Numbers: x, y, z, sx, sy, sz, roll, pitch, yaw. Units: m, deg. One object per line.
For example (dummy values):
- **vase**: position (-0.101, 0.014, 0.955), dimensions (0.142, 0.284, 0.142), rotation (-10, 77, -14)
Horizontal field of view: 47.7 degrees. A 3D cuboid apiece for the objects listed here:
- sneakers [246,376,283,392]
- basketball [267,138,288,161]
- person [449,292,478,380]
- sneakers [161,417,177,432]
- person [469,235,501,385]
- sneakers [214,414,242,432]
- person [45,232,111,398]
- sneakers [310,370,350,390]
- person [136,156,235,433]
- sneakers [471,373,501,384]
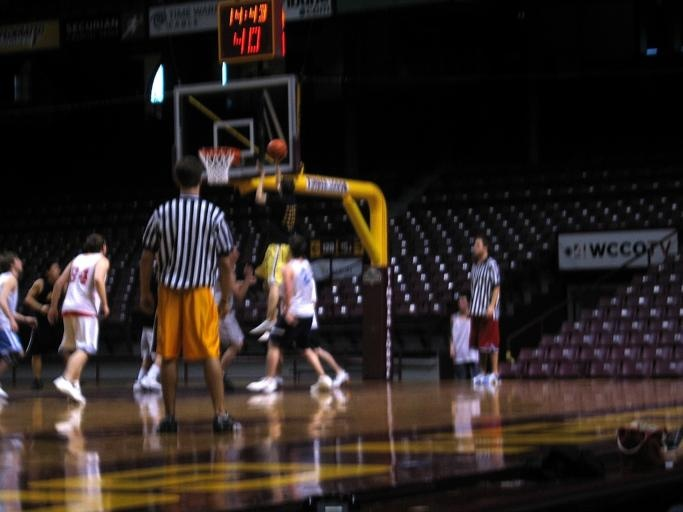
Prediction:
- **sneakers**: position (-0.895, 1.540, 9.432), dimensions (0.525, 0.189, 0.235), rotation (11, -53, -47)
- **basketball**: position (-0.813, -1.343, 9.879), dimensions (0.188, 0.201, 0.237), rotation (-26, -43, -5)
- **person**: position (1.870, 1.366, 11.659), dimensions (0.434, 1.659, 0.382), rotation (0, 28, 13)
- **sneakers**: position (-1.260, 1.241, 5.652), dimensions (0.100, 0.124, 0.101), rotation (-3, -7, 42)
- **person**: position (1.965, 0.763, 10.500), dimensions (0.399, 1.927, 1.042), rotation (-2, -9, 7)
- **sneakers**: position (-0.821, 1.238, 5.739), dimensions (0.240, 0.116, 0.088), rotation (1, 1, -42)
- **person**: position (-2.928, 0.726, 8.674), dimensions (0.582, 1.839, 0.913), rotation (2, -9, -21)
- **sneakers**: position (-0.085, 1.590, 9.884), dimensions (0.198, 0.301, 0.657), rotation (-14, -19, 35)
- **person**: position (-1.132, 0.309, 5.947), dimensions (0.723, 2.146, 0.381), rotation (1, 6, -11)
- **sneakers**: position (2.006, 1.649, 10.381), dimensions (0.274, 0.112, 0.176), rotation (14, -18, -38)
